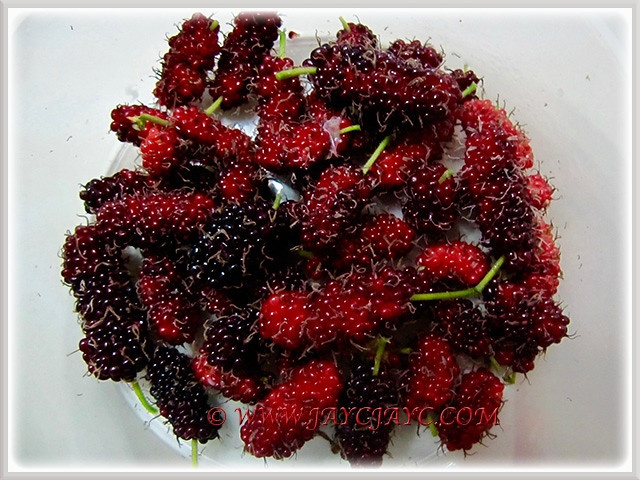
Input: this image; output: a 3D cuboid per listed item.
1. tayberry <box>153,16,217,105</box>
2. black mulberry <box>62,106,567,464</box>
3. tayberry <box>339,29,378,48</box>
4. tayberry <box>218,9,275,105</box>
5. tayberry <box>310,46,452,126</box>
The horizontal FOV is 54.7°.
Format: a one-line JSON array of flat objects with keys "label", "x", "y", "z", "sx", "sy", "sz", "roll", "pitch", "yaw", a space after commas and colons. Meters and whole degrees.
[{"label": "tayberry", "x": -0.359, "y": -0.484, "z": 1.708, "sx": 0.129, "sy": 0.149, "sz": 0.241, "roll": 22, "pitch": 69, "yaw": 4}, {"label": "black mulberry", "x": -0.018, "y": 0.110, "z": 1.672, "sx": 1.328, "sy": 0.418, "sz": 0.925, "roll": 1, "pitch": 69, "yaw": -4}, {"label": "tayberry", "x": 0.104, "y": -0.536, "z": 1.638, "sx": 0.098, "sy": 0.043, "sz": 0.051, "roll": 14, "pitch": 38, "yaw": 10}, {"label": "tayberry", "x": -0.213, "y": -0.510, "z": 1.708, "sx": 0.111, "sy": 0.127, "sz": 0.255, "roll": 28, "pitch": 70, "yaw": 7}, {"label": "tayberry", "x": 0.162, "y": -0.401, "z": 1.658, "sx": 0.401, "sy": 0.157, "sz": 0.174, "roll": 25, "pitch": 69, "yaw": 5}]
